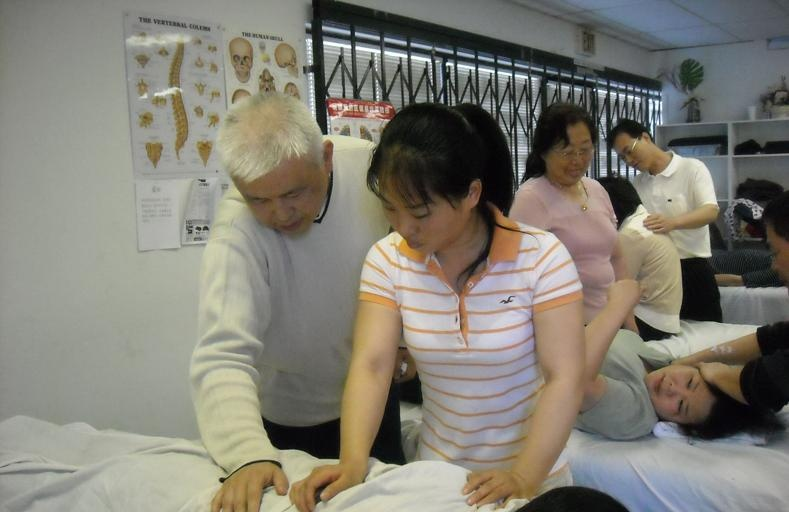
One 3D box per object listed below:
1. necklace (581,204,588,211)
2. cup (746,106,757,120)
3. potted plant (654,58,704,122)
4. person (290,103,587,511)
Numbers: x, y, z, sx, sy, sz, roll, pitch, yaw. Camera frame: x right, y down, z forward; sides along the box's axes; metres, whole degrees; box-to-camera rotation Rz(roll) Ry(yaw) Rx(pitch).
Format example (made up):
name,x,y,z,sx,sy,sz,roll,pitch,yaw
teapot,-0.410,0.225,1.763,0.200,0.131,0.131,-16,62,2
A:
name,x,y,z,sx,sy,sz,roll,pitch,yaw
necklace,1.077,-0.273,3.208,0.034,0.033,0.009,20,-7,-19
cup,4.134,-1.649,6.563,0.104,0.178,0.369,5,11,31
potted plant,3.631,-1.981,6.945,0.362,0.748,0.640,-12,5,16
person,0.176,0.138,1.853,0.900,1.249,0.524,-3,10,-10
